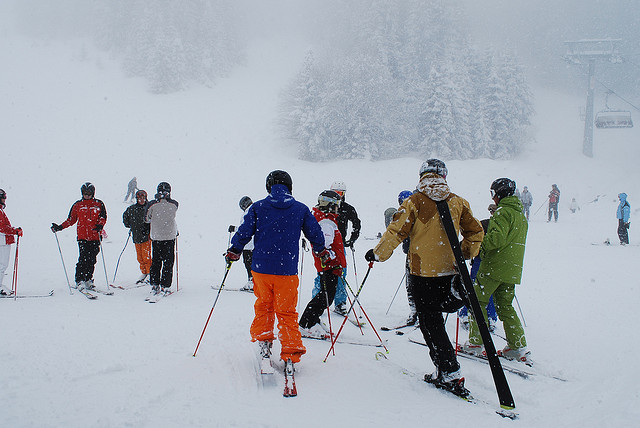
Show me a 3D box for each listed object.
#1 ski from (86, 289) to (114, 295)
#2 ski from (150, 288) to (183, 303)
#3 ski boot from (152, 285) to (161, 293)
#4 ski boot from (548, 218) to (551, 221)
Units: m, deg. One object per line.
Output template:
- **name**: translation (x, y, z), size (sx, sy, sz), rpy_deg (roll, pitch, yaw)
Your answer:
- **ski**: translation (-11.831, 4.072, 37.384), size (1.831, 0.223, 0.214), rpy_deg (4, 33, 21)
- **ski**: translation (-8.328, 4.330, 37.196), size (0.207, 0.145, 1.959), rpy_deg (40, 35, 21)
- **ski boot**: translation (-8.744, 3.918, 37.057), size (0.290, 0.370, 0.084), rpy_deg (21, -25, 0)
- **ski boot**: translation (15.591, 0.340, 47.145), size (0.098, 0.174, 0.162), rpy_deg (2, 3, -7)
